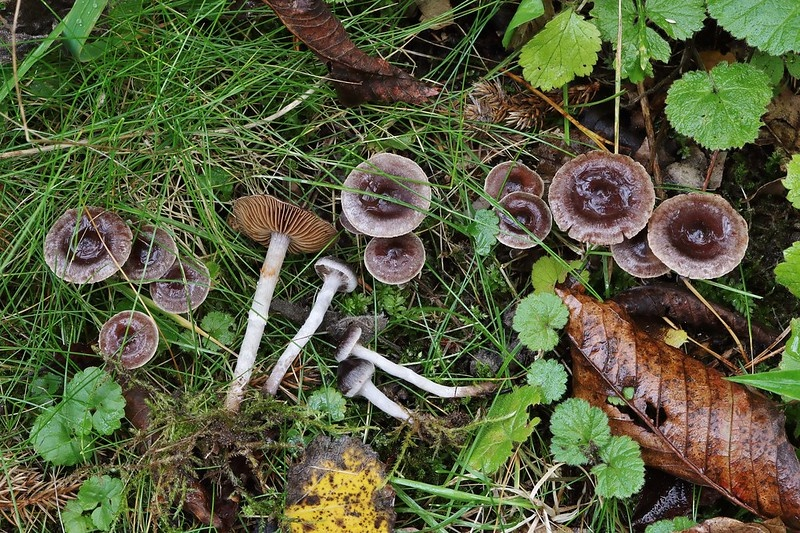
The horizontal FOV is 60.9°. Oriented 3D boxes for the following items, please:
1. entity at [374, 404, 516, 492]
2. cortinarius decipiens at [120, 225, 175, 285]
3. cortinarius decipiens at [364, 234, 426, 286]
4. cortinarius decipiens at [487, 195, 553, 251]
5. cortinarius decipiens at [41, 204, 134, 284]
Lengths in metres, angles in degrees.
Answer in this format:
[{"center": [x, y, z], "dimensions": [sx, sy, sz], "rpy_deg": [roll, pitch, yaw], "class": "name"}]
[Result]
[{"center": [0.382, 1.554, 6.301], "dimensions": [0.809, 0.782, 0.311], "rpy_deg": [-46, 128, -48], "class": "entity"}, {"center": [-2.420, -0.117, 6.551], "dimensions": [0.524, 0.193, 0.539], "rpy_deg": [11, 84, -9], "class": "cortinarius decipiens"}, {"center": [-0.056, -0.066, 6.653], "dimensions": [0.581, 0.240, 0.470], "rpy_deg": [-7, 86, 0], "class": "cortinarius decipiens"}, {"center": [1.204, -0.461, 6.573], "dimensions": [0.547, 0.381, 0.557], "rpy_deg": [-1, 86, 1], "class": "cortinarius decipiens"}, {"center": [-2.937, -0.213, 6.296], "dimensions": [0.725, 0.305, 0.724], "rpy_deg": [15, 86, 1], "class": "cortinarius decipiens"}]
